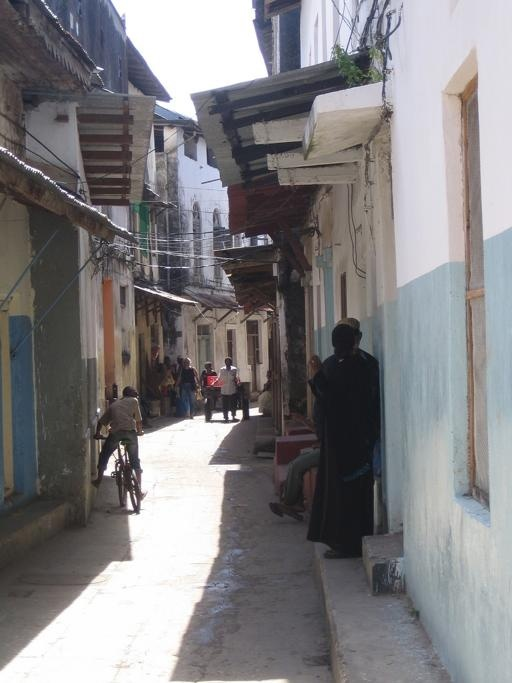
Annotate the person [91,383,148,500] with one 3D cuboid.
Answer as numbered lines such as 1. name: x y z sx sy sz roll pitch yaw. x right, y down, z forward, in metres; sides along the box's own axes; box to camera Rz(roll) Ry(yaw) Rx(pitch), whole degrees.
1. person: -1.431 0.926 9.348 0.413 1.330 0.557 0 5 -12

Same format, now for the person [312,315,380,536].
1. person: 0.593 0.687 5.862 0.306 1.724 0.469 0 0 1

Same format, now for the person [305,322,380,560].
1. person: 0.559 0.638 5.869 0.421 1.490 0.591 0 6 -1
